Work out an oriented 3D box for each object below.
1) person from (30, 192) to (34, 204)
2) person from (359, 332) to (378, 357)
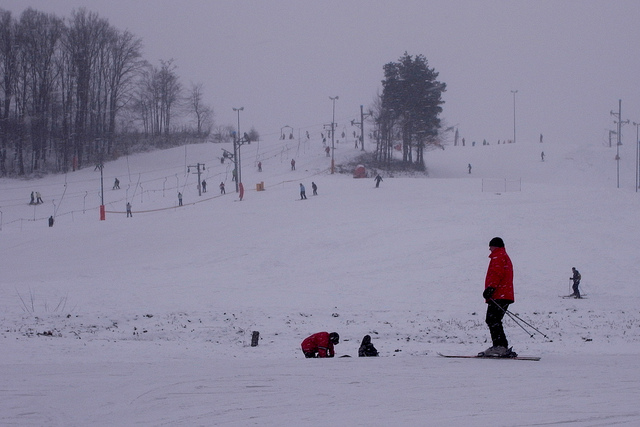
[{"bbox_3d":[-32.623,-1.706,139.489,0.423,1.268,1.536,-1,2,-13],"label":"person"},{"bbox_3d":[3.768,10.550,97.785,0.567,1.786,1.137,-14,-29,27],"label":"person"}]
